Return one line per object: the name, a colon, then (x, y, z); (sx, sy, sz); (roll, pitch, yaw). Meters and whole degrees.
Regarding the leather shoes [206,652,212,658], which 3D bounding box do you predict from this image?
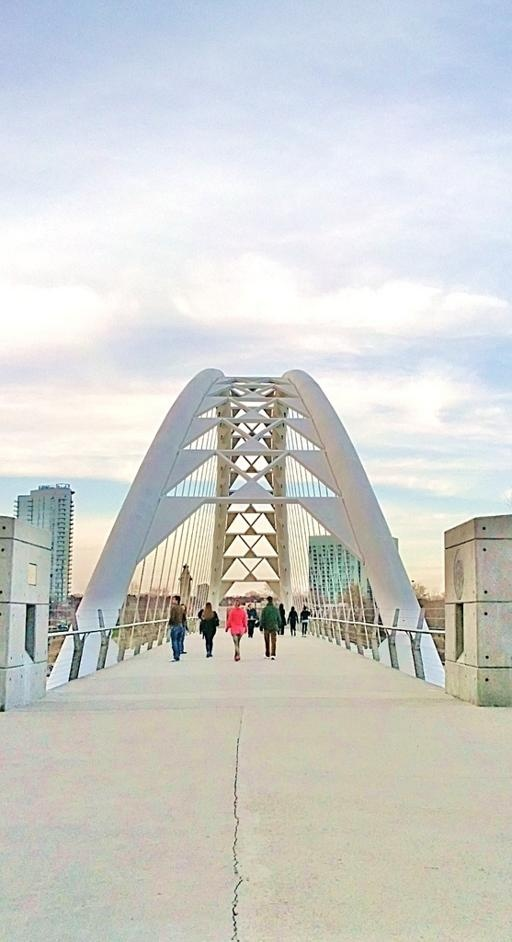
leather shoes: (-1.327, 5.241, 18.367); (0.162, 0.171, 0.161); (7, -16, -12)
